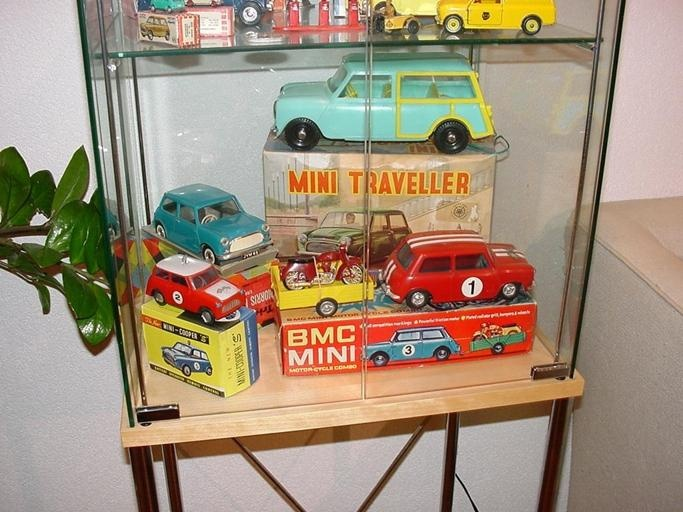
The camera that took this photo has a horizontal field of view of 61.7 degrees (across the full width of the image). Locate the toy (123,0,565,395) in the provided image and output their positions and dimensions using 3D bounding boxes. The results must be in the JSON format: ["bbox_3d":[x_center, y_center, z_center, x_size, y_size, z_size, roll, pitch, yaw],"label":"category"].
[{"bbox_3d":[0.120,-0.106,1.246,0.579,0.679,0.235,-5,19,-8],"label":"toy"}]
